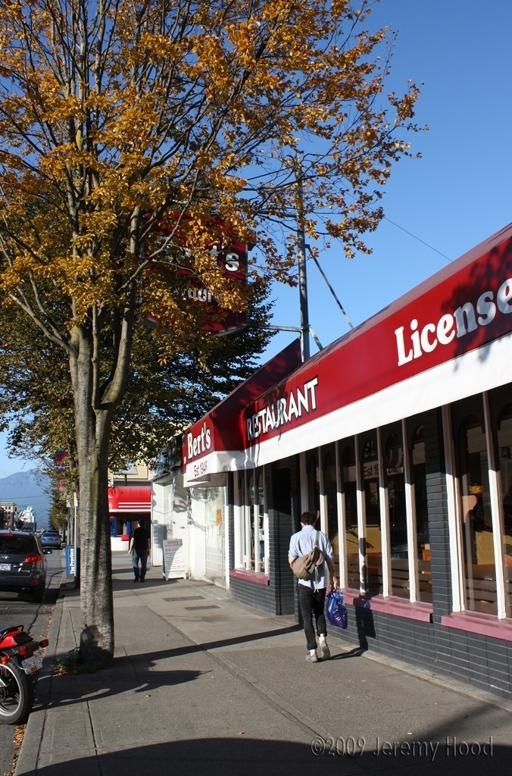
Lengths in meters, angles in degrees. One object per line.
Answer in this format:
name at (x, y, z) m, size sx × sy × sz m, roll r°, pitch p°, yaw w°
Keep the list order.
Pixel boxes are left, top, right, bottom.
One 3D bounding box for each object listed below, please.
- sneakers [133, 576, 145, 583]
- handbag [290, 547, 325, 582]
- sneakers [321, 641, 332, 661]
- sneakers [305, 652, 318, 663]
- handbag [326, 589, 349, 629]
sneakers at (-3.842, 6.353, 20.150) m, size 0.213 × 0.228 × 0.314 m, roll 1°, pitch -9°, yaw 1°
handbag at (0.594, 2.094, 7.236) m, size 0.378 × 0.404 × 0.300 m, roll 9°, pitch -7°, yaw -26°
sneakers at (0.820, 3.098, 7.235) m, size 0.110 × 0.205 × 0.182 m, roll 0°, pitch -13°, yaw 0°
sneakers at (0.642, 3.105, 7.047) m, size 0.074 × 0.088 × 0.190 m, roll 1°, pitch -8°, yaw -4°
handbag at (0.971, 2.663, 7.346) m, size 0.210 × 0.421 × 0.296 m, roll -1°, pitch -13°, yaw 3°
